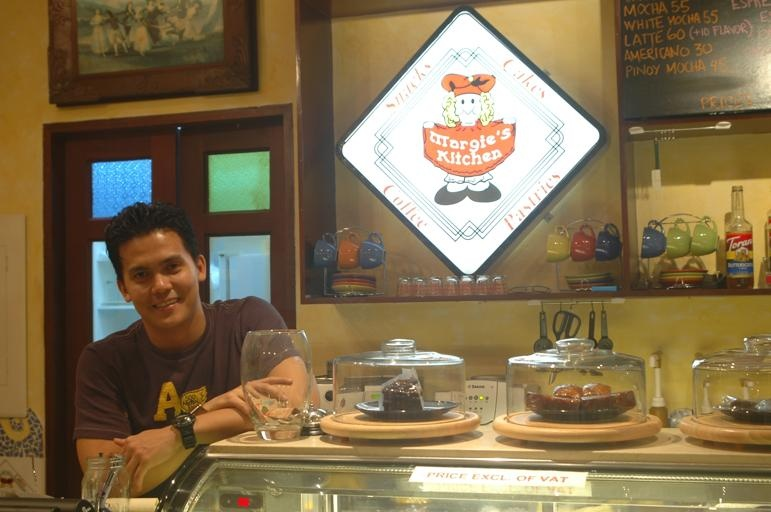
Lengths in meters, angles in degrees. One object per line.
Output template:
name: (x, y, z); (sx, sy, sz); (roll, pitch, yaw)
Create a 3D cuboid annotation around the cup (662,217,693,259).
cup: (1.347, -0.081, 3.515); (0.132, 0.209, 0.219); (-2, -9, 8)

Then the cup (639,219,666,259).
cup: (1.232, -0.076, 3.499); (0.113, 0.172, 0.190); (-2, -5, 17)

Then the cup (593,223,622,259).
cup: (1.027, -0.061, 3.504); (0.116, 0.165, 0.174); (-5, -25, 27)

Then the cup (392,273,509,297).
cup: (0.310, 0.147, 3.586); (0.516, 0.101, 0.110); (-5, 0, 16)

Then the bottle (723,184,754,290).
bottle: (1.625, -0.094, 3.424); (0.115, 0.417, 0.244); (-5, 1, 30)

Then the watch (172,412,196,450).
watch: (-0.698, 0.607, 2.645); (0.076, 0.109, 0.112); (-15, 23, -19)

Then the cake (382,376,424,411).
cake: (0.061, 0.447, 2.473); (0.114, 0.101, 0.113); (-1, 0, -28)

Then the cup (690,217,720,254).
cup: (1.488, -0.093, 3.456); (0.134, 0.146, 0.086); (-12, -19, 39)
